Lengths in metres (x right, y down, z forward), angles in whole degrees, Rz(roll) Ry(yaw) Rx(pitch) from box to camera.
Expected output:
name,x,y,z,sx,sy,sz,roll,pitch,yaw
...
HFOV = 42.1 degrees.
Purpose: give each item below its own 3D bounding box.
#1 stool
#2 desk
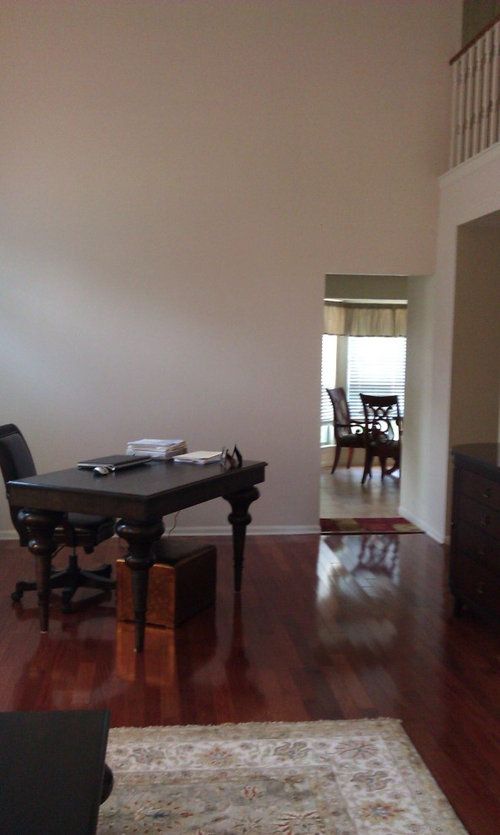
name,x,y,z,sx,sy,sz,roll,pitch,yaw
stool,-0.410,0.832,3.326,0.321,0.299,0.463,2,3,23
desk,-0.520,0.612,3.213,0.827,0.756,1.218,1,3,22
